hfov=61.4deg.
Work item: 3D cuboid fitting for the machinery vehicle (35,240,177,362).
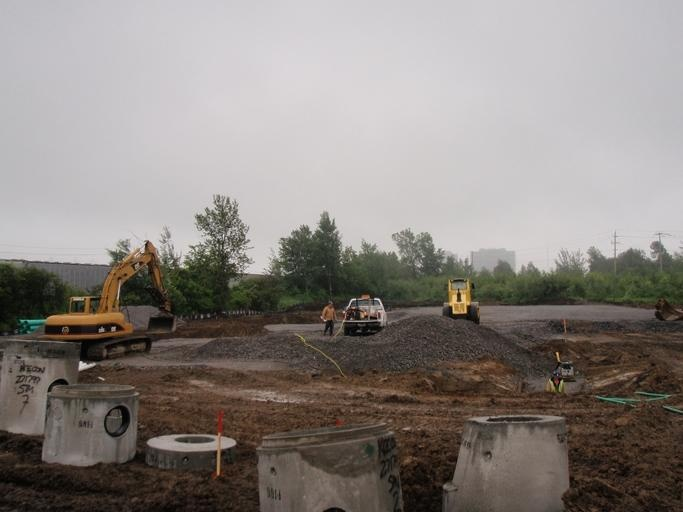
[{"bbox_3d":[-8.382,1.671,22.023,2.114,4.045,5.254,-5,-5,22],"label":"machinery vehicle"}]

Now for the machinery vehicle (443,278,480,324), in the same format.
[{"bbox_3d":[5.825,2.210,27.967,1.683,2.322,3.328,-3,3,12],"label":"machinery vehicle"}]
